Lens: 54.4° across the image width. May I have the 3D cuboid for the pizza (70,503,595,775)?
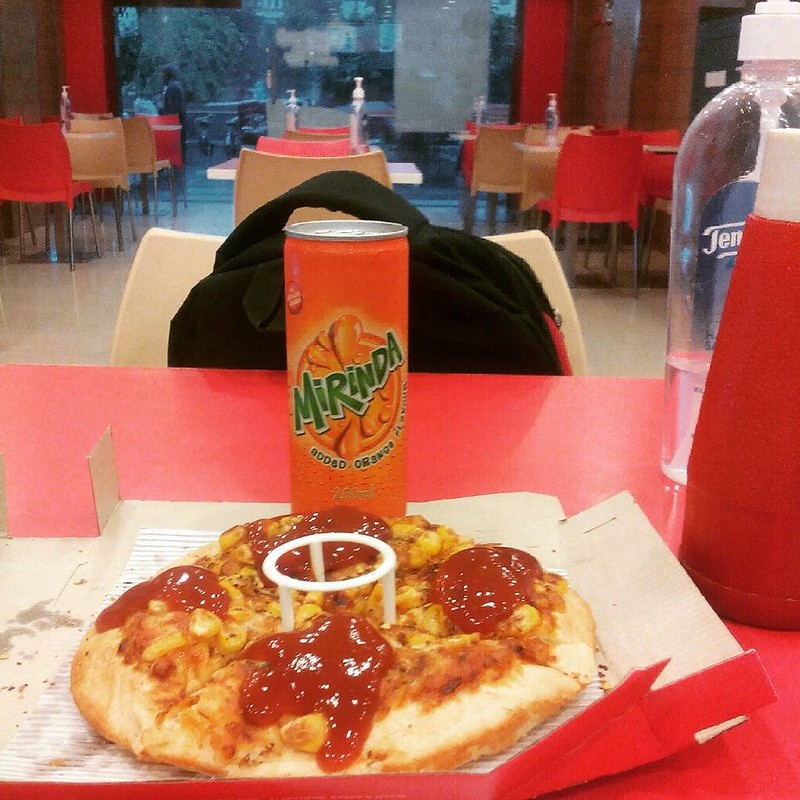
[{"bbox_3d":[-0.025,0.105,0.409,0.250,0.049,0.250,1,11,9],"label":"pizza"}]

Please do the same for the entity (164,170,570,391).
[{"bbox_3d":[-0.032,-0.125,0.833,0.374,0.126,0.227,0,29,-1],"label":"entity"}]

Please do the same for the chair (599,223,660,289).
[{"bbox_3d":[1.395,-0.864,4.645,0.377,0.348,0.376,7,22,12],"label":"chair"}]

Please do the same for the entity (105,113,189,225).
[{"bbox_3d":[-1.948,-1.794,6.075,0.309,0.786,0.766,-3,22,-11],"label":"entity"}]
